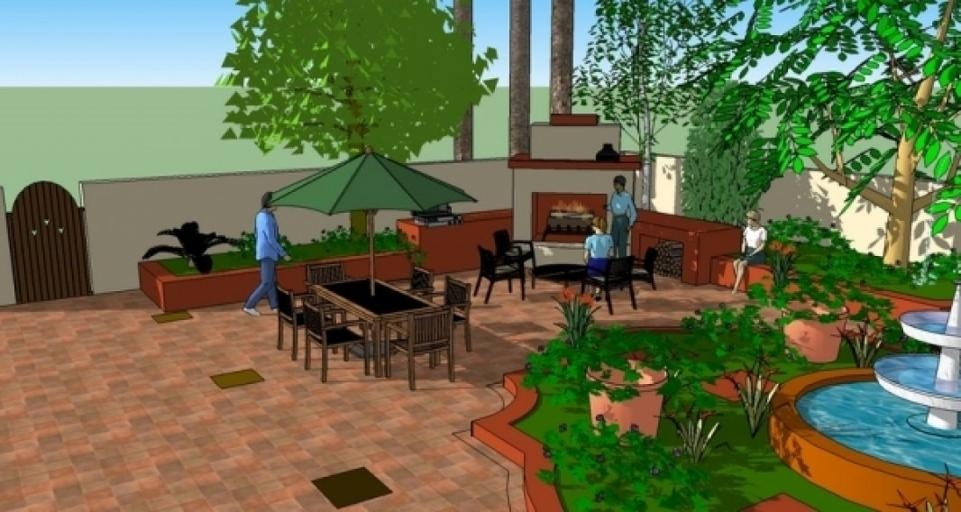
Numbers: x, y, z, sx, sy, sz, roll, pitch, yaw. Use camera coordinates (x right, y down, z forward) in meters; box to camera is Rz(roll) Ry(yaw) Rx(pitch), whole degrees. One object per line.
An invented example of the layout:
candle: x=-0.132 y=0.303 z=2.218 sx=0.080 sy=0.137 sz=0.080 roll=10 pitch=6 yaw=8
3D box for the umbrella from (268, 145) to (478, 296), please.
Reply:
umbrella: x=-2.507 y=-1.107 z=13.031 sx=4.403 sy=2.503 sz=3.792 roll=1 pitch=22 yaw=-9

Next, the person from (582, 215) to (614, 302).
person: x=3.068 y=0.131 z=14.920 sx=0.635 sy=2.332 sz=1.074 roll=1 pitch=16 yaw=12
